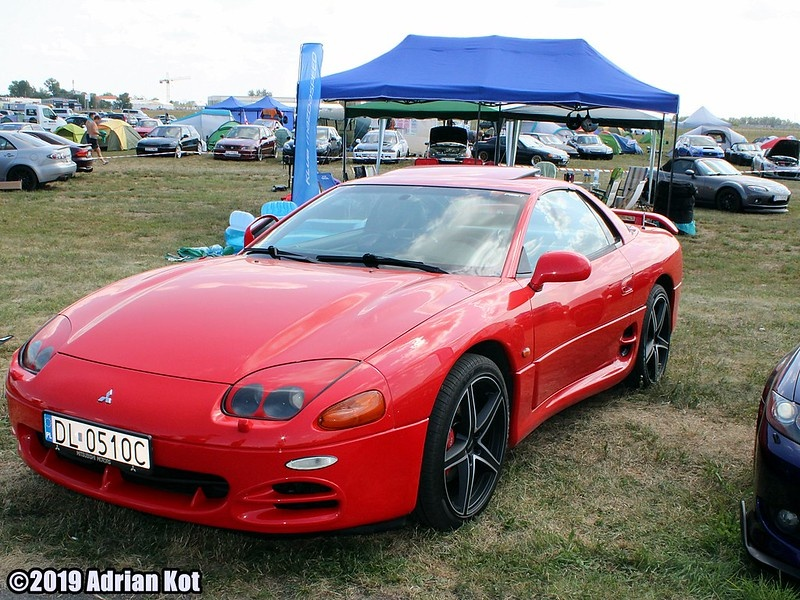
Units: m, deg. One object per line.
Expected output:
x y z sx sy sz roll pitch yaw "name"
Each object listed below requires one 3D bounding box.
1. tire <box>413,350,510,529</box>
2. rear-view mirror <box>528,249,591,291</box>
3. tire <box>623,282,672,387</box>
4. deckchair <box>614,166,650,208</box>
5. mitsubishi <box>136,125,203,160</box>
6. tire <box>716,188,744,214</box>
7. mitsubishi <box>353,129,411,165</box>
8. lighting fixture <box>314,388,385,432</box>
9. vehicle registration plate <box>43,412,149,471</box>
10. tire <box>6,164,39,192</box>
0.263 0.619 2.713 0.239 0.758 0.710 5 15 30 "tire"
0.875 -0.145 3.229 0.289 0.157 0.378 0 -13 14 "rear-view mirror"
1.736 0.237 4.287 0.264 0.706 0.689 2 10 28 "tire"
5.507 -2.749 14.498 0.630 0.745 0.890 18 26 33 "deckchair"
-9.470 -6.651 25.544 1.407 0.946 2.947 4 12 9 "mitsubishi"
8.421 -2.541 15.426 0.287 0.710 0.731 -3 0 -29 "tire"
-0.687 -5.909 24.982 2.054 1.245 4.269 2 11 10 "mitsubishi"
-0.171 0.421 2.301 0.193 0.066 0.134 -16 48 -18 "lighting fixture"
-1.185 0.561 2.369 0.009 0.163 0.566 -22 -29 10 "vehicle registration plate"
-8.952 -2.910 14.346 0.680 0.639 0.249 -7 7 -8 "tire"
